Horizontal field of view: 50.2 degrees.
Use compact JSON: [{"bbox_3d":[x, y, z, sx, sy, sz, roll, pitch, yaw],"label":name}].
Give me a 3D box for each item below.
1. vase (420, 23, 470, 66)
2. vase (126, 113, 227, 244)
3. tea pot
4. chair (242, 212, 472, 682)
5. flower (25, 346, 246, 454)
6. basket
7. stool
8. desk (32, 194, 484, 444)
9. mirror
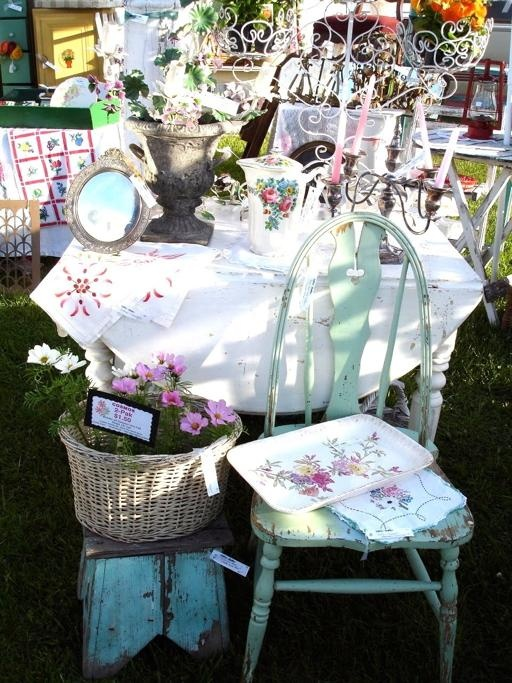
[{"bbox_3d":[0.637,-1.012,1.894,0.162,0.144,0.163,-5,28,0],"label":"vase"},{"bbox_3d":[-0.234,-0.542,1.789,0.393,0.399,0.345,2,34,-3],"label":"vase"},{"bbox_3d":[0.112,-0.417,1.680,0.258,0.293,0.258,-7,32,4],"label":"tea pot"},{"bbox_3d":[0.245,0.322,1.388,0.594,1.179,0.671,2,29,-2],"label":"chair"},{"bbox_3d":[-0.333,0.150,1.447,0.447,0.139,0.398,17,15,20],"label":"flower"},{"bbox_3d":[-0.270,0.307,1.518,0.481,0.329,0.411,-2,27,-10],"label":"basket"},{"bbox_3d":[-0.282,0.639,1.556,0.421,0.305,0.388,-1,9,-12],"label":"stool"},{"bbox_3d":[-0.016,-0.187,1.860,0.976,0.693,0.962,1,27,-5],"label":"desk"},{"bbox_3d":[-0.428,-0.397,1.571,0.291,0.278,0.052,3,11,-12],"label":"mirror"}]
